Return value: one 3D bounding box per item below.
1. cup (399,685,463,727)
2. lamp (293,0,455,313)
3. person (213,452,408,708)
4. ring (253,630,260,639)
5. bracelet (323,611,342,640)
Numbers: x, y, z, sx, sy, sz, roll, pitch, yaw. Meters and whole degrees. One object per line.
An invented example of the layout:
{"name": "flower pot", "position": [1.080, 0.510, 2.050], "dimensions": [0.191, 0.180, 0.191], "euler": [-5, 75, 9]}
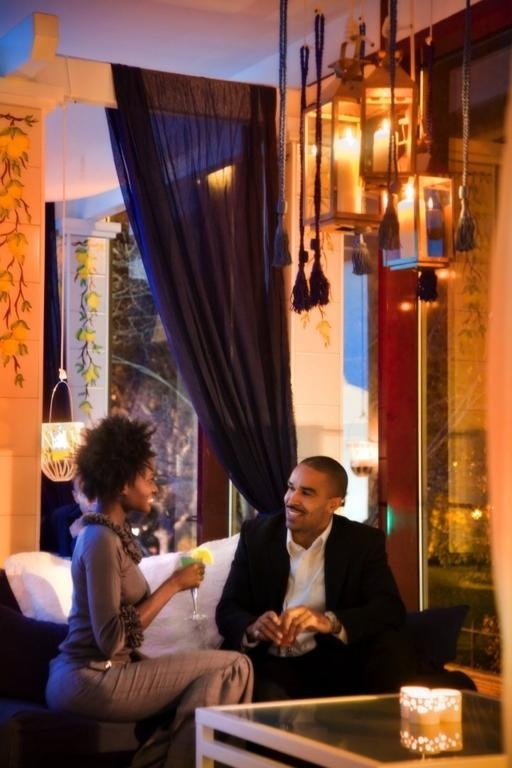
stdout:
{"name": "cup", "position": [0.419, 0.777, 1.867], "dimensions": [0.109, 0.059, 0.097], "euler": [-1, -5, 16]}
{"name": "lamp", "position": [0.273, -0.701, 2.313], "dimensions": [0.352, 0.970, 0.837], "euler": [-2, 1, 3]}
{"name": "person", "position": [0.198, 0.876, 2.731], "dimensions": [0.611, 1.247, 0.658], "euler": [-3, -13, 18]}
{"name": "ring", "position": [0.003, 0.821, 2.551], "dimensions": [0.007, 0.025, 0.023], "euler": [-4, 0, -43]}
{"name": "bracelet", "position": [0.252, 0.795, 2.578], "dimensions": [0.028, 0.082, 0.057], "euler": [-20, 3, -3]}
